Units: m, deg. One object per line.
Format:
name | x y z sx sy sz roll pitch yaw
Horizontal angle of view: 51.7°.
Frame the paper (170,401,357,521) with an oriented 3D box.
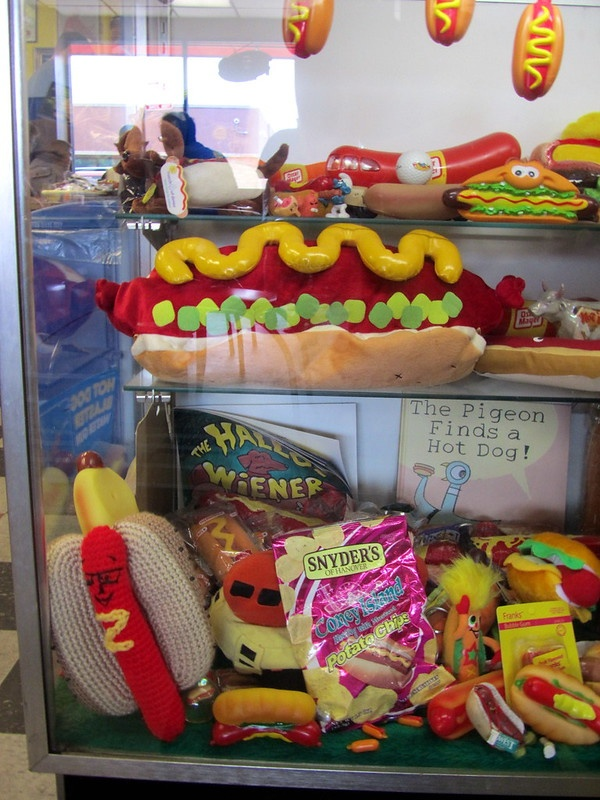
paper | -0.067 0.093 0.951 0.204 0.148 0.031 3 20 2
